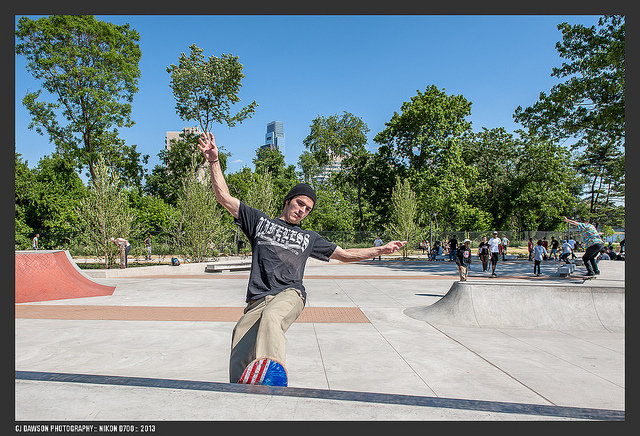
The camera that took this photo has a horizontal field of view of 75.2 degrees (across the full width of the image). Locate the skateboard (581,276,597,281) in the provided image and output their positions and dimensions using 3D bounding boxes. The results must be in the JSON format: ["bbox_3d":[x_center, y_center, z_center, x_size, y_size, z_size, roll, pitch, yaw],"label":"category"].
[{"bbox_3d":[8.631,1.937,13.363,0.344,0.151,0.425,2,-7,-4],"label":"skateboard"}]

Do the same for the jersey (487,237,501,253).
[{"bbox_3d":[8.871,1.343,21.186,0.490,0.731,0.731,-1,-2,16],"label":"jersey"}]

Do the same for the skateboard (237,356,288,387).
[{"bbox_3d":[-0.572,1.624,4.248,0.445,0.114,0.753,1,-1,-2],"label":"skateboard"}]

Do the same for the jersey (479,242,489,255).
[{"bbox_3d":[8.549,1.602,21.638,0.550,0.622,0.216,-14,-27,40],"label":"jersey"}]

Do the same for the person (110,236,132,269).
[{"bbox_3d":[-9.680,1.666,20.252,0.787,1.520,1.835,1,-3,-24],"label":"person"}]

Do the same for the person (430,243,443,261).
[{"bbox_3d":[8.611,2.518,30.601,1.016,1.286,0.629,0,-2,-4],"label":"person"}]

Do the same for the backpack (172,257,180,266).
[{"bbox_3d":[-7.647,2.340,21.965,0.469,0.488,0.347,2,0,-5],"label":"backpack"}]

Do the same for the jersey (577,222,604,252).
[{"bbox_3d":[9.175,0.622,14.129,0.655,0.991,0.950,-1,-3,31],"label":"jersey"}]

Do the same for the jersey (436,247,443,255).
[{"bbox_3d":[8.840,2.447,30.624,0.460,0.753,0.531,-7,10,-17],"label":"jersey"}]

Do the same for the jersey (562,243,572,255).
[{"bbox_3d":[13.665,1.714,22.978,0.700,0.667,0.390,4,1,22],"label":"jersey"}]

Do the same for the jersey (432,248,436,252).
[{"bbox_3d":[8.504,2.406,31.016,0.221,0.302,0.078,4,0,36],"label":"jersey"}]

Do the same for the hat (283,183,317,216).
[{"bbox_3d":[-0.227,-0.242,4.861,0.237,0.243,0.318,30,-38,-6],"label":"hat"}]

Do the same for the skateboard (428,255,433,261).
[{"bbox_3d":[8.151,2.968,30.762,0.298,0.418,0.551,0,-3,1],"label":"skateboard"}]
